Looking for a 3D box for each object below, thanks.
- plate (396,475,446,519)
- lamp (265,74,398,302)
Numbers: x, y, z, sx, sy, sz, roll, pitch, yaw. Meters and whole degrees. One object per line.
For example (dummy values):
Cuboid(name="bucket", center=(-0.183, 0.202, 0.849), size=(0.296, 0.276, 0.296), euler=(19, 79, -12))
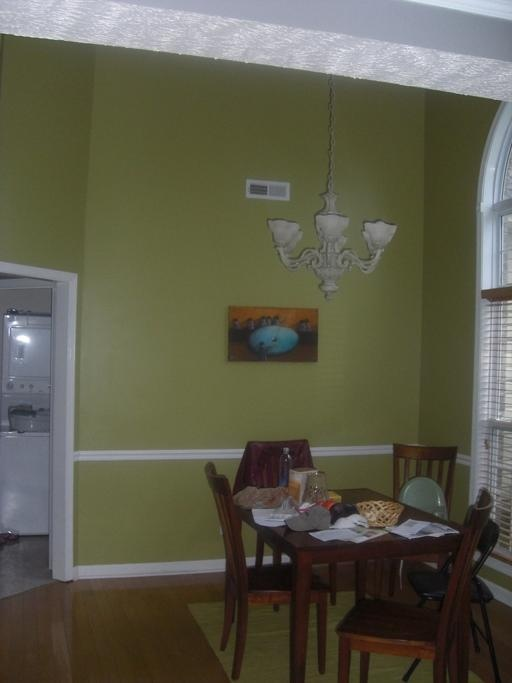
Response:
Cuboid(name="plate", center=(0.976, 0.942, 3.709), size=(0.274, 0.265, 0.339), euler=(-2, -22, 13))
Cuboid(name="lamp", center=(0.619, -1.165, 4.539), size=(1.011, 1.691, 0.361), euler=(3, -4, -26))
